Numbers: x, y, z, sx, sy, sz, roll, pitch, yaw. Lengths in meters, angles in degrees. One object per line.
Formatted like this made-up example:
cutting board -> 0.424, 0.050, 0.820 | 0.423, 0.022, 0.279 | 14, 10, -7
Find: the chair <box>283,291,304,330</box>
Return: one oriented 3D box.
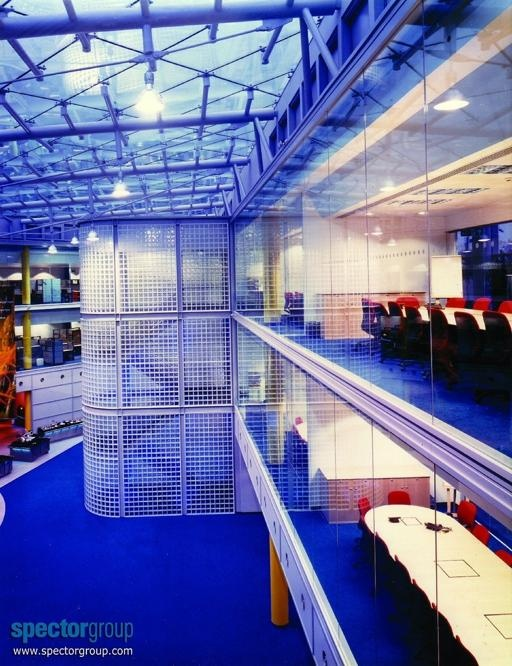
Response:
chair -> 0.408, -0.251, 5.613 | 0.303, 0.496, 0.526 | 0, 0, -1
